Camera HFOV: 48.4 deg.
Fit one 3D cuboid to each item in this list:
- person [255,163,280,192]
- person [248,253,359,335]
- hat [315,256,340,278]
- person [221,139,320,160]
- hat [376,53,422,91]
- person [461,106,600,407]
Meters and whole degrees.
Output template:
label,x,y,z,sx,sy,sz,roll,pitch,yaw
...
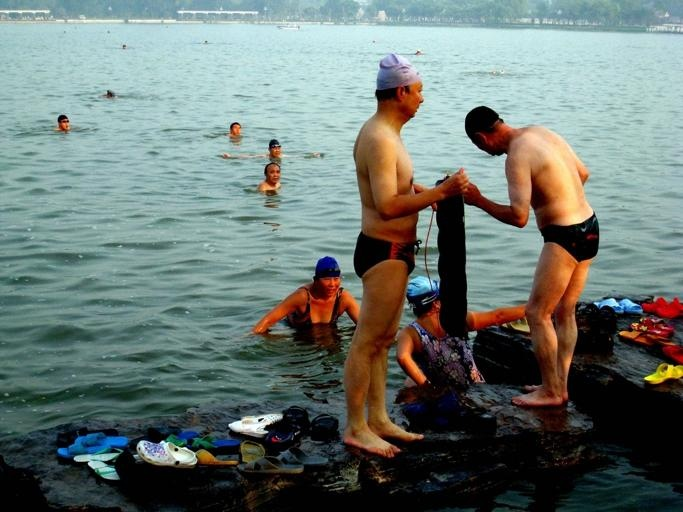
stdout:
label,x,y,z,sx,sy,sz,roll,pitch,yaw
person,-1.546,-1.729,16.354,0.496,0.608,0.769,0,22,-6
person,-0.355,0.584,10.086,1.983,0.905,0.753,3,-2,-31
hat,-0.196,0.129,9.698,0.335,0.231,0.301,9,13,35
person,-1.780,-2.760,19.505,2.647,0.539,1.008,-1,21,-7
hat,0.492,-1.591,6.613,0.375,0.307,0.336,6,23,10
person,1.858,0.038,7.317,1.288,2.803,1.358,-5,26,-17
